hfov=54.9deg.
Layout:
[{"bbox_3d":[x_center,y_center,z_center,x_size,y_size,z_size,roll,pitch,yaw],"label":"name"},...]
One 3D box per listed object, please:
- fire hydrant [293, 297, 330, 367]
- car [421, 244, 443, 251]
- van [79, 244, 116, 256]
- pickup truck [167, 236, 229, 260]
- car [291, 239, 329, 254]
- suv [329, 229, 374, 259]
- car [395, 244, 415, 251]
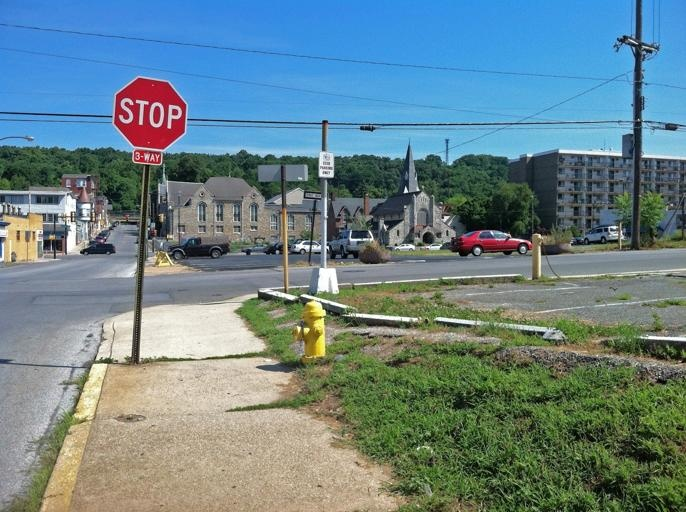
[{"bbox_3d":[-0.498,1.146,10.004,0.473,0.893,0.338,-3,7,-4],"label":"fire hydrant"},{"bbox_3d":[10.655,-1.046,78.118,2.649,0.938,1.257,3,-2,-19],"label":"car"},{"bbox_3d":[-29.052,-0.760,78.063,4.174,1.154,3.276,2,9,32],"label":"van"},{"bbox_3d":[-11.418,-0.570,53.084,4.085,1.567,2.405,1,0,-23],"label":"pickup truck"},{"bbox_3d":[-2.825,-1.034,58.325,3.264,1.134,1.528,-3,7,-10],"label":"car"},{"bbox_3d":[0.537,-0.771,40.300,1.428,1.225,2.662,-1,8,-17],"label":"suv"},{"bbox_3d":[6.825,-0.894,71.025,2.297,0.803,1.187,3,-1,-2],"label":"car"}]
